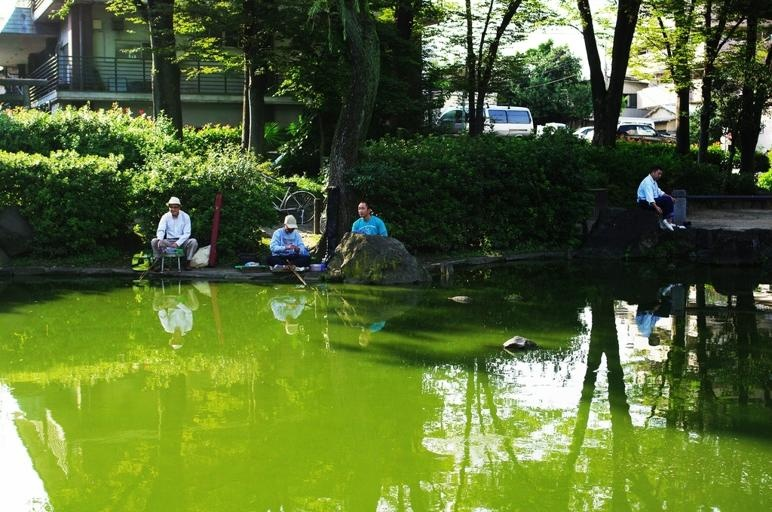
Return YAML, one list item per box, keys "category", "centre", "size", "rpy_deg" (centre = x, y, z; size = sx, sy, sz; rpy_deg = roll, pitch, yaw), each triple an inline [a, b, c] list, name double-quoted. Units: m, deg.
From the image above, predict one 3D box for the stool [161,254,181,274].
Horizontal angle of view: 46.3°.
- category: "stool"
  centre: [-5.238, 0.161, 22.129]
  size: [0.474, 0.447, 0.409]
  rpy_deg: [-1, -7, -6]

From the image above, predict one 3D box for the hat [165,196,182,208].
- category: "hat"
  centre: [-5.237, -1.335, 22.308]
  size: [0.288, 0.136, 0.365]
  rpy_deg: [1, -5, -9]

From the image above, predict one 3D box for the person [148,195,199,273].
- category: "person"
  centre: [-5.236, -0.590, 22.104]
  size: [1.116, 1.637, 1.116]
  rpy_deg: [-4, 13, -24]

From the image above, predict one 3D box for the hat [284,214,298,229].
- category: "hat"
  centre: [-2.347, -0.852, 22.180]
  size: [0.261, 0.270, 0.418]
  rpy_deg: [-5, 16, -31]

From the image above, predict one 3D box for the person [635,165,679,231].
- category: "person"
  centre: [7.363, -1.627, 24.576]
  size: [1.028, 1.588, 0.911]
  rpy_deg: [4, 15, 16]

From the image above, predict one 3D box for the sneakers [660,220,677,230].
- category: "sneakers"
  centre: [7.588, -0.840, 24.442]
  size: [0.414, 0.260, 0.204]
  rpy_deg: [6, 16, 19]

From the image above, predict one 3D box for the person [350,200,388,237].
- category: "person"
  centre: [-0.432, -0.832, 22.070]
  size: [0.907, 1.015, 0.628]
  rpy_deg: [-3, 1, 13]

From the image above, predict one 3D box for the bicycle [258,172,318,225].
- category: "bicycle"
  centre: [-3.175, -1.681, 27.355]
  size: [2.212, 1.306, 0.965]
  rpy_deg: [1, 5, -10]

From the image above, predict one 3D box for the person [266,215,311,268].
- category: "person"
  centre: [-2.497, -0.366, 22.503]
  size: [1.280, 1.554, 1.131]
  rpy_deg: [0, -4, -14]
